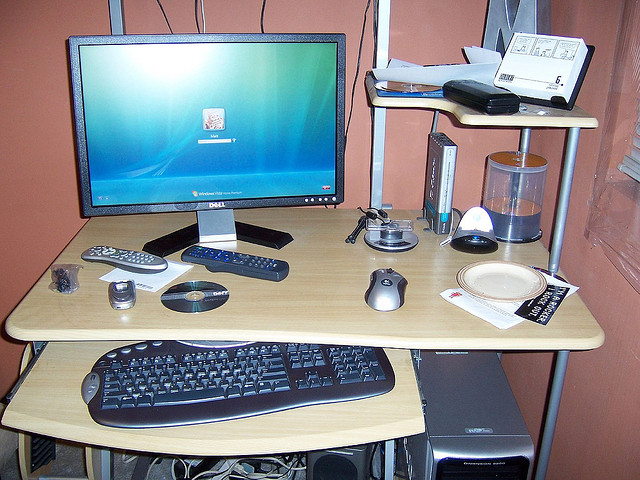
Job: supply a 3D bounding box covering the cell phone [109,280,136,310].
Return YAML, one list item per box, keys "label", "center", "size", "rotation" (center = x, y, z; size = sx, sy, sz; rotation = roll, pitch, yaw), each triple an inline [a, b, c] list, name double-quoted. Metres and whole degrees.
- label: "cell phone"
  center: [-0.533, 0.146, 1.440]
  size: [0.070, 0.026, 0.119]
  rotation: [-4, 29, -23]

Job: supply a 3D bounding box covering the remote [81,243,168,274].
- label: "remote"
  center: [-0.581, 0.061, 1.582]
  size: [0.280, 0.046, 0.070]
  rotation: [8, 26, 18]

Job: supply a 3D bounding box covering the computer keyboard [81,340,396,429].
- label: "computer keyboard"
  center: [-0.203, 0.342, 1.356]
  size: [0.769, 0.083, 0.246]
  rotation: [-3, 24, -6]
